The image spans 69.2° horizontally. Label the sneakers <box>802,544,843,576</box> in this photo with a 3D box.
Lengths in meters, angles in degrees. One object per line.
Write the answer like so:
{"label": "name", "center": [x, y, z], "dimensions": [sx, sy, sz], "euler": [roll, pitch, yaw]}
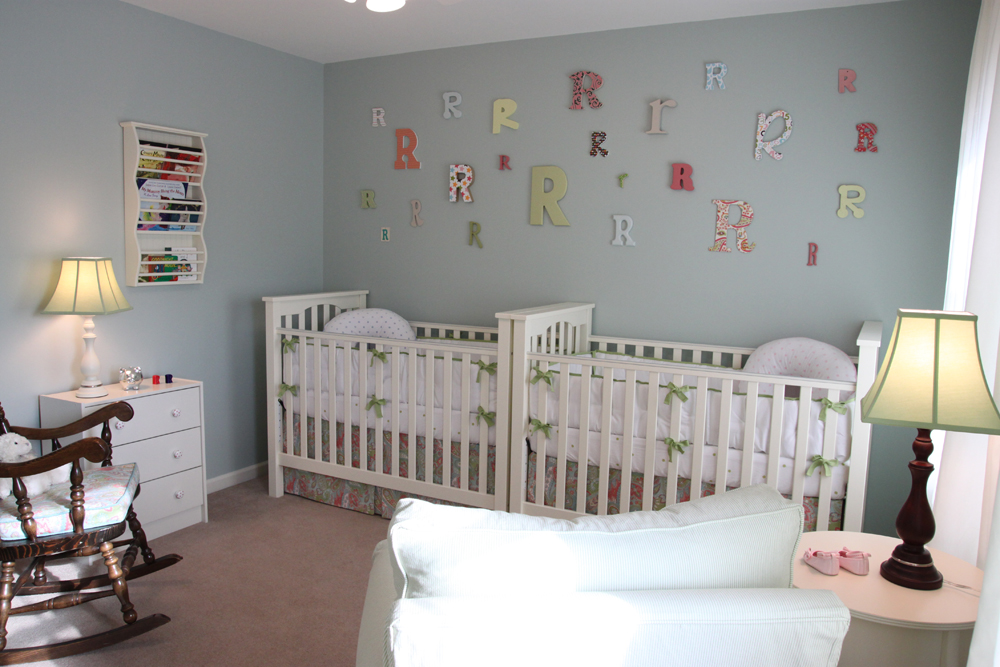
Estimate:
{"label": "sneakers", "center": [1.130, 0.807, 2.582], "dimensions": [0.065, 0.049, 0.121], "euler": [-3, 6, -12]}

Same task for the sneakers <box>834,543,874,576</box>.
{"label": "sneakers", "center": [1.245, 0.800, 2.572], "dimensions": [0.057, 0.061, 0.158], "euler": [-2, 4, -8]}

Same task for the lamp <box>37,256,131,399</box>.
{"label": "lamp", "center": [-2.183, -0.041, 3.830], "dimensions": [0.331, 0.723, 0.341], "euler": [5, 8, 38]}
